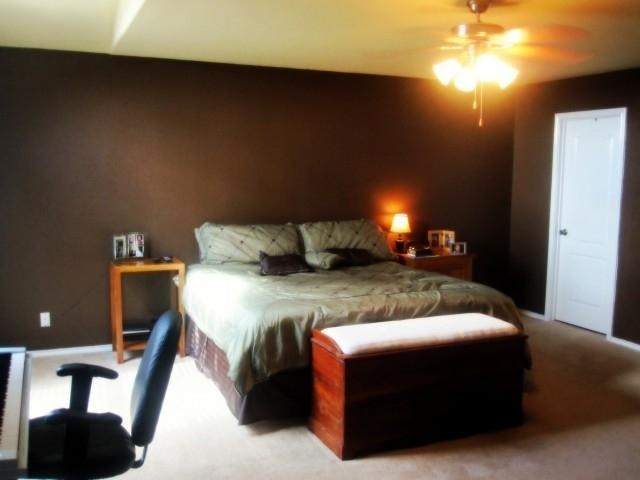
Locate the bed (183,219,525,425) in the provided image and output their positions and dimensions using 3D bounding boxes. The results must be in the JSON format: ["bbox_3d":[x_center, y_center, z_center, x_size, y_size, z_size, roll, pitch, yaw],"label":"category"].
[{"bbox_3d":[-0.331,0.490,4.435,2.034,1.007,2.052,-1,3,-23],"label":"bed"}]

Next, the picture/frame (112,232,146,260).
[{"bbox_3d":[-1.899,0.043,5.002,0.381,0.390,0.218,-1,1,-27],"label":"picture/frame"}]

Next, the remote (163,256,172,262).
[{"bbox_3d":[-1.522,0.192,4.929,0.077,0.020,0.074,-2,16,-20],"label":"remote"}]

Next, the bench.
[{"bbox_3d":[0.645,0.969,3.705,1.429,0.814,0.642,-5,5,-24],"label":"bench"}]
